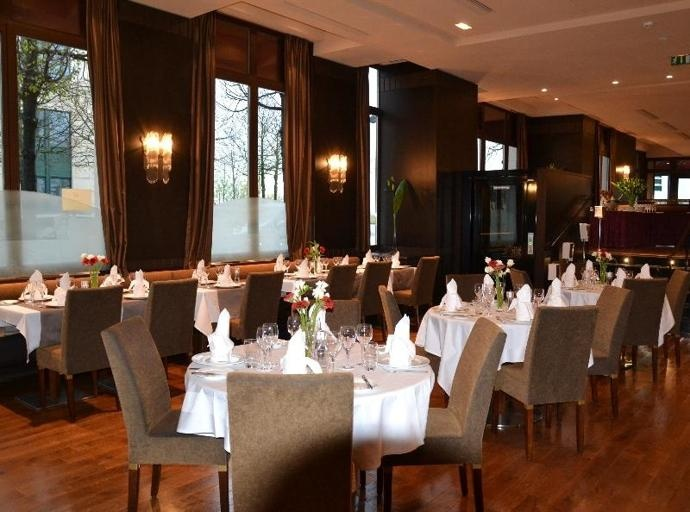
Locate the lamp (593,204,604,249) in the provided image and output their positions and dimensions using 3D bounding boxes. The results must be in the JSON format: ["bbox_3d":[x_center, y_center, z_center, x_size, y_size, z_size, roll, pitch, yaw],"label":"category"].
[{"bbox_3d":[5.144,-0.576,11.662,0.178,0.889,1.260,1,6,24],"label":"lamp"}]

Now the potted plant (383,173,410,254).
[{"bbox_3d":[0.971,-0.815,10.829,0.515,1.400,0.374,1,6,24],"label":"potted plant"}]

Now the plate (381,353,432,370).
[{"bbox_3d":[0.409,0.742,4.027,0.355,0.061,0.314,-1,5,8],"label":"plate"}]

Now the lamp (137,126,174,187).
[{"bbox_3d":[-2.536,-1.353,7.825,0.119,0.718,0.447,3,7,39],"label":"lamp"}]

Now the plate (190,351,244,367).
[{"bbox_3d":[-0.885,0.715,4.029,0.357,0.073,0.328,-3,5,-15],"label":"plate"}]

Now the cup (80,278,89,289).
[{"bbox_3d":[-2.779,0.293,6.160,0.063,0.114,0.066,0,27,0],"label":"cup"}]

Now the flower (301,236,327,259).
[{"bbox_3d":[-0.497,-0.123,8.908,0.314,0.360,0.337,0,3,8],"label":"flower"}]

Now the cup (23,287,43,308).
[{"bbox_3d":[-3.303,0.443,6.106,0.169,0.185,0.175,4,2,0],"label":"cup"}]
